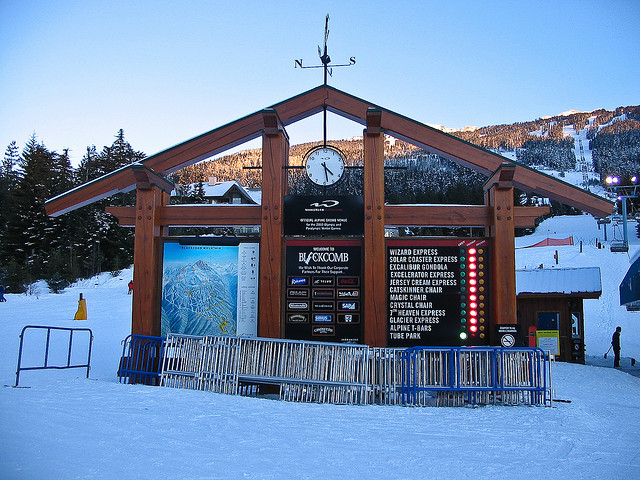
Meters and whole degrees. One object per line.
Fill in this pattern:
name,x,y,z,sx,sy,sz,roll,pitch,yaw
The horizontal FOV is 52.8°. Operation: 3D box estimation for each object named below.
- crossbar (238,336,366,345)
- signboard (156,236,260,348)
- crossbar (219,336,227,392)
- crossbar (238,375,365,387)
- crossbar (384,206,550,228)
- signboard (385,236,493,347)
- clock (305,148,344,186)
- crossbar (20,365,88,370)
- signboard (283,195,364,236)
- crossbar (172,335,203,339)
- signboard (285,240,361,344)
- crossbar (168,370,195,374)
crossbar,-0.502,2.524,15.976,3.047,0.188,1.082,0,-9,1
signboard,-2.846,1.496,16.918,2.843,2.883,0.208,0,-8,3
crossbar,-2.369,3.072,15.765,0.134,1.313,0.041,3,-11,-14
crossbar,-0.378,3.411,15.347,2.884,0.208,0.212,-1,-10,11
crossbar,3.692,-0.612,17.086,3.922,0.586,0.493,-1,-10,6
signboard,2.999,1.365,16.535,2.604,2.784,0.350,0,-10,1
clock,0.161,-1.955,17.495,1.028,1.035,0.080,0,0,8
crossbar,-7.050,3.436,17.037,1.136,0.118,2.409,2,-9,-8
signboard,0.102,-0.625,16.947,2.113,1.065,0.237,0,-10,4
crossbar,-3.324,2.458,16.091,0.766,0.089,0.144,-3,-10,19
signboard,0.095,1.361,16.681,1.924,2.624,0.273,1,-10,-1
crossbar,-3.435,3.308,15.948,0.716,0.084,0.056,-2,-11,16
